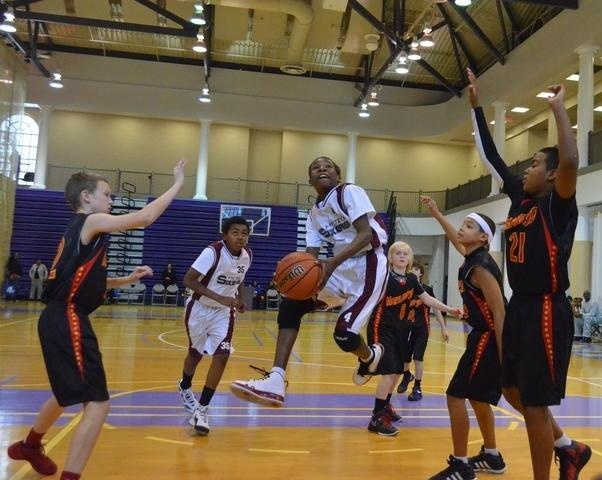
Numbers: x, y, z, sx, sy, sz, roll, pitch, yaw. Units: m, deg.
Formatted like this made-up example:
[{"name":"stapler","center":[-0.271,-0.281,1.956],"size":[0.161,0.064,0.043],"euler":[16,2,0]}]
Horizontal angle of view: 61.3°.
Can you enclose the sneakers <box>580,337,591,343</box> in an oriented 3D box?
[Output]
[{"name":"sneakers","center":[6.751,2.368,12.005],"size":[0.242,0.182,0.086],"euler":[2,-1,14]}]

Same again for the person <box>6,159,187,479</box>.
[{"name":"person","center":[-1.358,0.552,3.256],"size":[0.811,1.821,0.847],"euler":[4,-2,-31]}]

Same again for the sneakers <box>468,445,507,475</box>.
[{"name":"sneakers","center":[1.360,1.617,3.785],"size":[0.359,0.192,0.128],"euler":[1,-8,24]}]

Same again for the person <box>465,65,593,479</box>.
[{"name":"person","center":[1.527,0.190,3.270],"size":[0.606,2.801,0.887],"euler":[3,-2,-14]}]

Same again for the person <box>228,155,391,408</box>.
[{"name":"person","center":[0.197,0.265,3.712],"size":[0.941,1.768,0.734],"euler":[3,-2,0]}]

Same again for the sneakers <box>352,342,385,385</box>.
[{"name":"sneakers","center":[0.484,1.010,3.961],"size":[0.159,0.421,0.148],"euler":[-5,38,-35]}]

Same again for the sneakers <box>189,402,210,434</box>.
[{"name":"sneakers","center":[-0.829,1.487,4.201],"size":[0.099,0.157,0.304],"euler":[11,-6,-18]}]

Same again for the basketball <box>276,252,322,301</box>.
[{"name":"basketball","center":[-0.015,0.249,3.450],"size":[0.330,0.332,0.232],"euler":[3,-2,2]}]

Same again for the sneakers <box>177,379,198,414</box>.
[{"name":"sneakers","center":[-1.078,1.496,4.827],"size":[0.124,0.356,0.145],"euler":[-23,4,-27]}]

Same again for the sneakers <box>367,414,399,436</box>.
[{"name":"sneakers","center":[0.721,1.625,4.465],"size":[0.120,0.142,0.315],"euler":[4,-12,-25]}]
